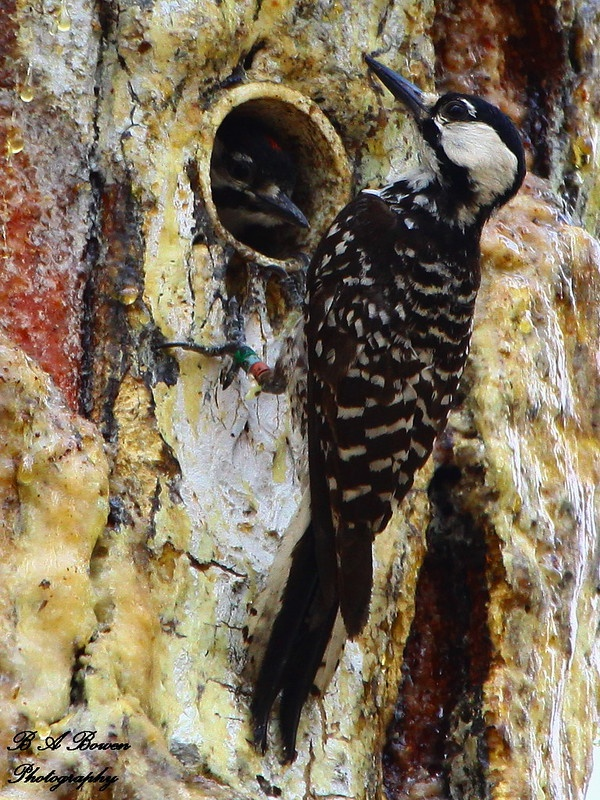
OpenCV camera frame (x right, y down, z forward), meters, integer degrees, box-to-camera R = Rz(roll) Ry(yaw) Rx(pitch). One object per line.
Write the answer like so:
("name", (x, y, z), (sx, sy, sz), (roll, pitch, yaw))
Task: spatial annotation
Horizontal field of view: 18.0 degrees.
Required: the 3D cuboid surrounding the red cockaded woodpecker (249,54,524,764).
("red cockaded woodpecker", (0.197, 0.007, 5.169), (0.523, 1.954, 0.842), (19, 2, -13))
